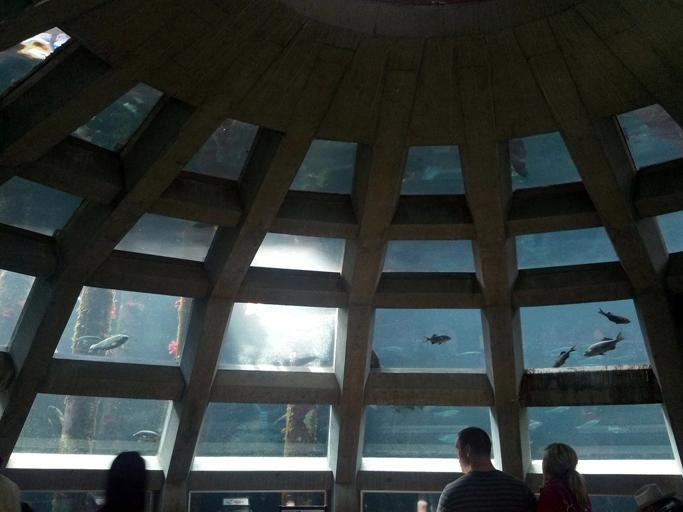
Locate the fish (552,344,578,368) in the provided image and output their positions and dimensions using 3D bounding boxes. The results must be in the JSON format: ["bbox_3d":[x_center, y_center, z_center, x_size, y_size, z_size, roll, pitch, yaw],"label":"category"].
[{"bbox_3d":[4.953,2.251,11.844,0.241,0.289,0.678,40,-37,9],"label":"fish"}]

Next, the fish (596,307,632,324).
[{"bbox_3d":[6.213,1.341,11.987,0.714,0.292,0.147,20,-22,11],"label":"fish"}]

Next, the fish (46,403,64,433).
[{"bbox_3d":[-6.536,3.732,12.100,0.121,0.571,0.336,-5,5,29],"label":"fish"}]

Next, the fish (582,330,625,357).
[{"bbox_3d":[5.683,1.911,11.457,0.791,0.482,0.782,24,-39,-29],"label":"fish"}]

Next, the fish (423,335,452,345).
[{"bbox_3d":[2.231,1.928,12.119,0.711,0.319,0.118,-7,-26,22],"label":"fish"}]
